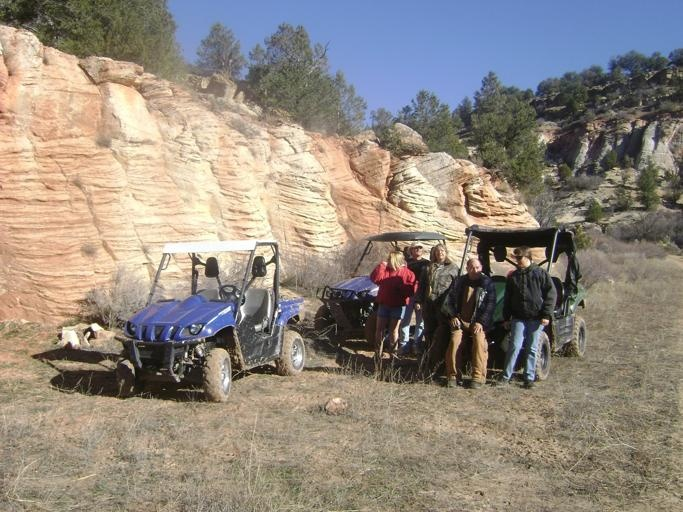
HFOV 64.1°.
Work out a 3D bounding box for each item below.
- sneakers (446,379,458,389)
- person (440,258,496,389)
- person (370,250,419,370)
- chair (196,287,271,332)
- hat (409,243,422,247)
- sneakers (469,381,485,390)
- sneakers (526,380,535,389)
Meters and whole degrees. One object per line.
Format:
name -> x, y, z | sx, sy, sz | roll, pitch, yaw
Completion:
sneakers -> 1.697, 1.965, 8.413 | 0.135, 0.132, 0.137 | 3, 0, 1
person -> 2.004, 1.034, 8.562 | 0.742, 1.965, 0.777 | 3, 8, 14
person -> 0.889, 0.903, 9.597 | 0.767, 1.952, 0.601 | 2, 8, 3
chair -> -1.690, 0.746, 8.771 | 0.638, 0.658, 1.066 | -8, -26, 29
hat -> 1.640, -0.259, 12.293 | 0.212, 0.107, 0.351 | 2, 2, -10
sneakers -> 2.094, 1.955, 8.358 | 0.279, 0.106, 0.143 | -4, 10, -31
sneakers -> 2.883, 1.965, 8.337 | 0.119, 0.093, 0.125 | -2, -10, 11
